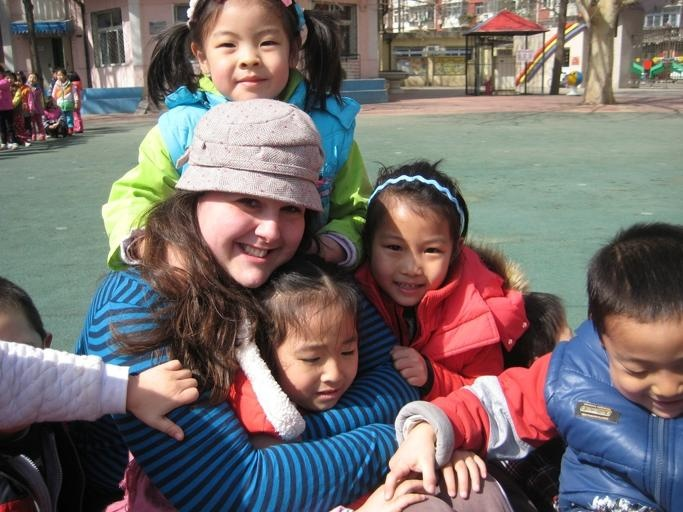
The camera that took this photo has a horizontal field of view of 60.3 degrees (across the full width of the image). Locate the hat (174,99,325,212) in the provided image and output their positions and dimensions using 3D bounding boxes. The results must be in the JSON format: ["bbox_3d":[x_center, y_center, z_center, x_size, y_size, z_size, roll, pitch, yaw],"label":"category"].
[{"bbox_3d":[-0.259,-0.281,1.671,0.324,0.200,0.325,12,6,31],"label":"hat"}]
